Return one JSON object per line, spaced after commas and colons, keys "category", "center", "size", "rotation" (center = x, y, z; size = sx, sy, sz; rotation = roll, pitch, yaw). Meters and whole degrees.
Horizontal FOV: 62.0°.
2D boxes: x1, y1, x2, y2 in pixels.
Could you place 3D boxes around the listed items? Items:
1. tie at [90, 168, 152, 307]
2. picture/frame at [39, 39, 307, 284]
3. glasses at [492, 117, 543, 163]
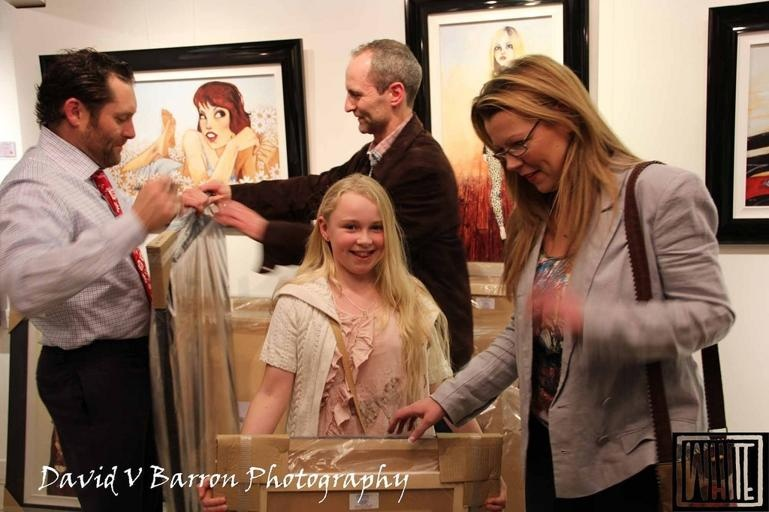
{"category": "tie", "center": [-1.155, -0.056, 2.795], "size": [0.095, 0.826, 0.092], "rotation": [-13, 33, -3]}
{"category": "picture/frame", "center": [-1.018, -0.504, 3.239], "size": [1.367, 1.033, 0.060], "rotation": [-2, 7, 8]}
{"category": "glasses", "center": [0.474, -0.403, 2.308], "size": [0.134, 0.040, 0.128], "rotation": [-44, 13, -17]}
